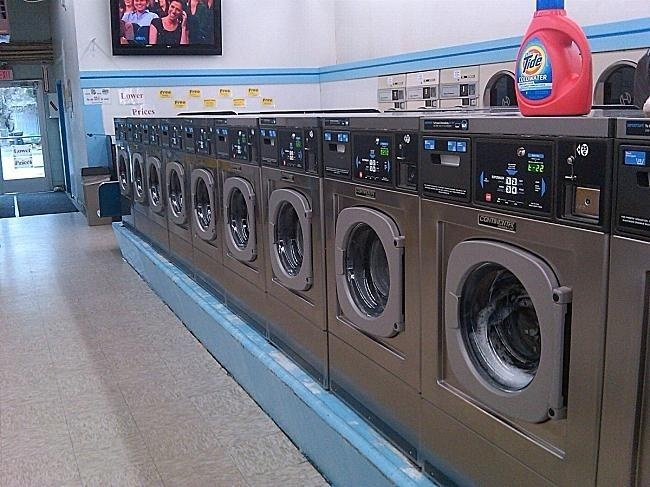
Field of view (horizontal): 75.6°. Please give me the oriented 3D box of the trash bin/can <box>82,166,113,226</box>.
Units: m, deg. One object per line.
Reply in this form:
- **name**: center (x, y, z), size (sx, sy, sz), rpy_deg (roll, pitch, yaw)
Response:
- **trash bin/can**: center (-3.839, -0.778, 7.078), size (0.457, 0.964, 0.387), rpy_deg (-10, 16, -29)

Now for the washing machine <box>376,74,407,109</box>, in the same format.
- **washing machine**: center (1.014, -2.291, 6.374), size (0.297, 0.505, 0.740), rpy_deg (-6, 15, -13)
